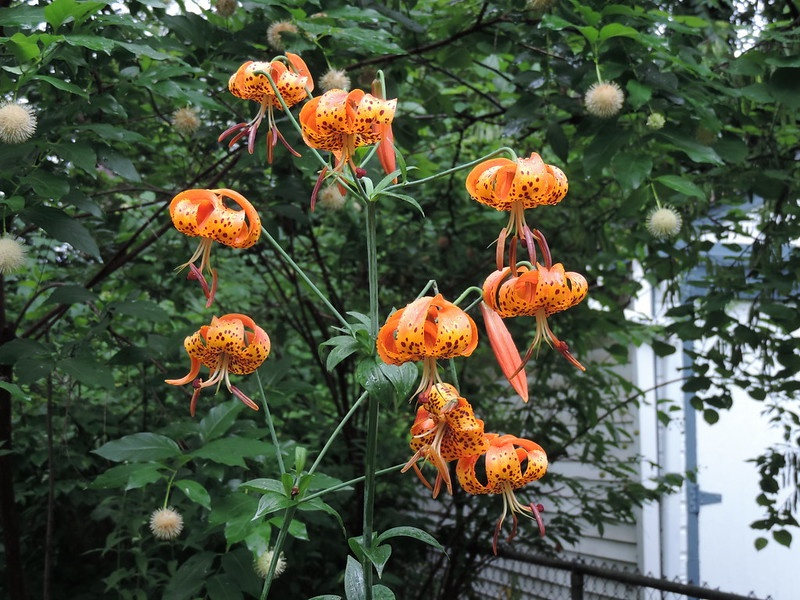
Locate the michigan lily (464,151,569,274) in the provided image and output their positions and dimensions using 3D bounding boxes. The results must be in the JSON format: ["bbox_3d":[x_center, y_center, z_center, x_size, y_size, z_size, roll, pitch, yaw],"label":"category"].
[{"bbox_3d":[0.356,-0.248,2.870,0.233,0.253,0.232,3,-5,28],"label":"michigan lily"}]

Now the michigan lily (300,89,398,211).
[{"bbox_3d":[-0.176,-0.424,2.902,0.270,0.265,0.253,-19,4,-7],"label":"michigan lily"}]

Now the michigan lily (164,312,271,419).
[{"bbox_3d":[-0.541,0.172,2.964,0.316,0.286,0.263,5,-15,-30],"label":"michigan lily"}]

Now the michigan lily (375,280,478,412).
[{"bbox_3d":[0.091,0.097,2.828,0.275,0.302,0.309,4,2,30],"label":"michigan lily"}]

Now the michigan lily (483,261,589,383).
[{"bbox_3d":[0.389,0.051,2.862,0.294,0.300,0.295,-11,3,-28],"label":"michigan lily"}]

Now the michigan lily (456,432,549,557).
[{"bbox_3d":[0.284,0.548,2.920,0.238,0.278,0.237,-24,-6,3],"label":"michigan lily"}]

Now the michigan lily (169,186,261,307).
[{"bbox_3d":[-0.551,-0.175,2.926,0.271,0.290,0.240,10,-5,-19],"label":"michigan lily"}]
